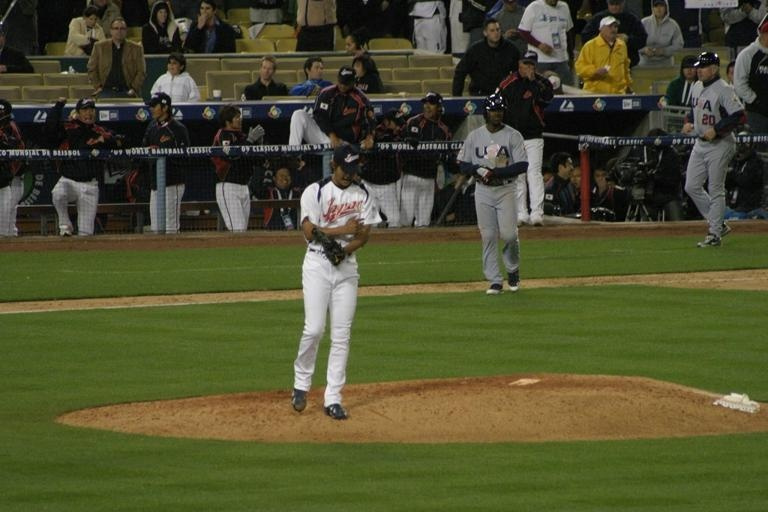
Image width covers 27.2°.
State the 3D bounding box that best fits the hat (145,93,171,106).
[{"bbox_3d":[-4.178,-2.905,29.632,0.380,0.201,0.254,5,7,-5],"label":"hat"}]

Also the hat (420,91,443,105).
[{"bbox_3d":[0.917,-2.918,29.749,0.332,0.150,0.235,19,-1,-26],"label":"hat"}]

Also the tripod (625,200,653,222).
[{"bbox_3d":[4.947,-0.855,31.050,0.434,0.531,0.438,5,8,36],"label":"tripod"}]

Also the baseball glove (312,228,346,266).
[{"bbox_3d":[-0.752,-0.107,21.602,0.347,0.518,0.258,-40,-9,-13],"label":"baseball glove"}]

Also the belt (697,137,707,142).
[{"bbox_3d":[5.490,-2.017,27.488,0.075,0.035,0.096,11,-12,33],"label":"belt"}]

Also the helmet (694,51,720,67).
[{"bbox_3d":[5.526,-3.373,27.278,0.395,0.172,0.264,-2,8,-8],"label":"helmet"}]

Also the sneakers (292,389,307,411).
[{"bbox_3d":[-1.157,1.972,21.812,0.143,0.354,0.164,-3,7,-8],"label":"sneakers"}]

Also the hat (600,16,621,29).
[{"bbox_3d":[4.425,-4.611,31.462,0.252,0.166,0.342,-2,3,-20],"label":"hat"}]

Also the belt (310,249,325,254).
[{"bbox_3d":[-0.905,-0.051,21.534,0.130,0.043,0.093,10,-2,17],"label":"belt"}]

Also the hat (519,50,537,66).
[{"bbox_3d":[2.590,-3.533,28.448,0.274,0.203,0.397,6,5,-1],"label":"hat"}]

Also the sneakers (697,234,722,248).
[{"bbox_3d":[5.702,-0.267,28.195,0.579,0.239,0.184,-1,15,0],"label":"sneakers"}]

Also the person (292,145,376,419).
[{"bbox_3d":[-0.699,0.367,21.687,1.058,3.733,0.505,1,4,-4],"label":"person"}]

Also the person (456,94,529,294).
[{"bbox_3d":[1.762,-0.971,25.398,1.013,3.197,0.639,1,4,3],"label":"person"}]

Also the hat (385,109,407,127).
[{"bbox_3d":[0.252,-2.657,30.836,0.497,0.326,0.419,-1,4,-21],"label":"hat"}]

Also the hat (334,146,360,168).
[{"bbox_3d":[-0.524,-1.355,21.628,0.341,0.303,0.293,1,4,-4],"label":"hat"}]

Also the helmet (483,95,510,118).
[{"bbox_3d":[1.767,-2.392,25.130,0.282,0.287,0.334,-2,7,-18],"label":"helmet"}]

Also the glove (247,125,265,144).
[{"bbox_3d":[-2.493,-2.344,30.801,0.252,0.340,0.544,1,4,7],"label":"glove"}]

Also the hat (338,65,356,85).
[{"bbox_3d":[-0.654,-3.166,28.054,0.293,0.305,0.300,0,4,-7],"label":"hat"}]

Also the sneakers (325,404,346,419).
[{"bbox_3d":[-0.664,2.139,21.737,0.164,0.117,0.292,-5,2,-33],"label":"sneakers"}]

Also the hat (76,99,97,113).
[{"bbox_3d":[-5.601,-2.851,29.931,0.337,0.235,0.389,-1,4,-26],"label":"hat"}]

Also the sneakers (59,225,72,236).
[{"bbox_3d":[-6.038,-0.464,30.141,0.192,0.207,0.190,-5,-6,-19],"label":"sneakers"}]
